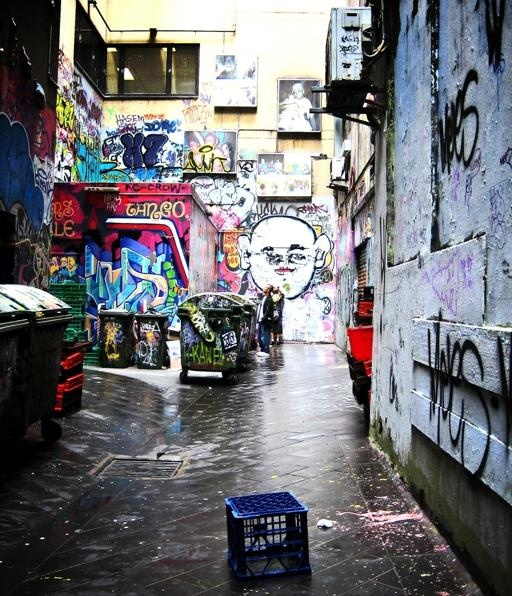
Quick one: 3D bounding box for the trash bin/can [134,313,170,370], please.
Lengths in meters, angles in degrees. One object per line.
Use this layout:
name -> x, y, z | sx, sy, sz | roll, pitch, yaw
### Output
trash bin/can -> -2.176, 0.909, 11.295 | 0.704, 1.798, 0.929 | 1, 2, 7

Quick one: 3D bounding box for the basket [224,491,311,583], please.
basket -> 0.057, 1.187, 2.660 | 0.412, 0.336, 0.480 | 0, -1, -12

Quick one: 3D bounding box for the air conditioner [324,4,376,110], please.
air conditioner -> 1.010, -2.503, 5.497 | 0.364, 1.367, 1.315 | 0, 6, 3

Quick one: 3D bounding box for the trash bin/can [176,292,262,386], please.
trash bin/can -> -0.757, 0.697, 10.207 | 0.972, 1.658, 1.754 | 1, -4, 6
